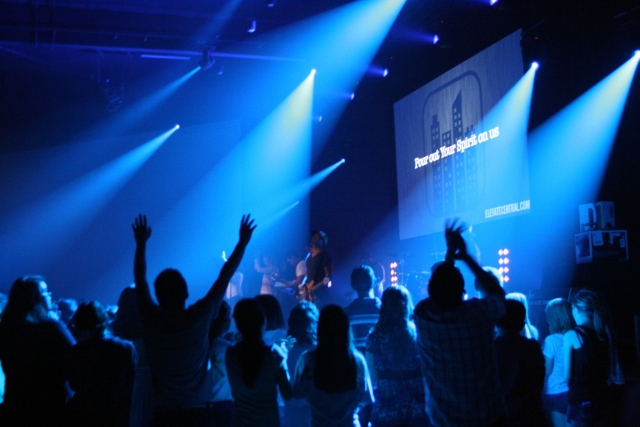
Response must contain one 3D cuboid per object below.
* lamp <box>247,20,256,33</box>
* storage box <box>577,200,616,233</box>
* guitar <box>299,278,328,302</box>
[{"bbox_3d":[-1.323,-3.631,10.313,0.167,0.200,0.166,10,-12,-35],"label":"lamp"},{"bbox_3d":[3.715,0.093,7.144,0.352,0.514,0.512,5,-8,-15],"label":"storage box"},{"bbox_3d":[-0.080,1.164,8.315,0.448,0.224,0.334,-15,3,-6],"label":"guitar"}]
